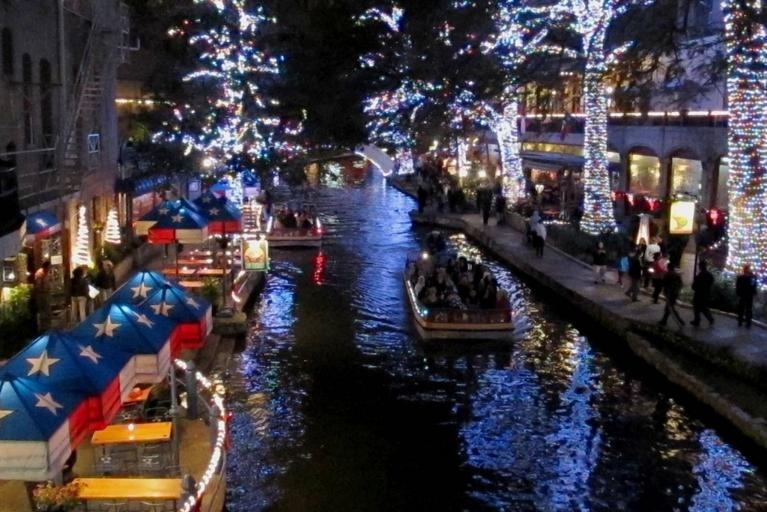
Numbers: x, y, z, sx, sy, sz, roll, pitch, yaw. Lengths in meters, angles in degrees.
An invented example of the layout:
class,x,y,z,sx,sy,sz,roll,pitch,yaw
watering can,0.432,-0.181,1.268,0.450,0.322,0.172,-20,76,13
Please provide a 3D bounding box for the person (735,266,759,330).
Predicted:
class,x,y,z,sx,sy,sz,roll,pitch,yaw
person,11.073,1.167,19.383,0.522,1.921,1.143,7,15,29

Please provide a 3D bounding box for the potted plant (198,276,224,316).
class,x,y,z,sx,sy,sz,roll,pitch,yaw
potted plant,-5.799,1.256,21.455,0.730,0.975,1.603,-4,14,-16

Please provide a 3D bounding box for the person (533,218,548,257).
class,x,y,z,sx,sy,sz,roll,pitch,yaw
person,7.421,-0.926,30.098,0.555,1.519,2.221,3,13,13

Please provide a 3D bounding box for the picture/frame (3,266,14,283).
class,x,y,z,sx,sy,sz,roll,pitch,yaw
picture/frame,-10.814,0.510,18.292,0.255,0.439,0.571,-5,14,-21

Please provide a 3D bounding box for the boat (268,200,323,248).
class,x,y,z,sx,sy,sz,roll,pitch,yaw
boat,-4.933,-1.612,35.056,2.059,1.332,3.597,-1,21,-8

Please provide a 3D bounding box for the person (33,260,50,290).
class,x,y,z,sx,sy,sz,roll,pitch,yaw
person,-9.902,0.522,18.381,0.431,0.713,1.225,-7,15,-27
